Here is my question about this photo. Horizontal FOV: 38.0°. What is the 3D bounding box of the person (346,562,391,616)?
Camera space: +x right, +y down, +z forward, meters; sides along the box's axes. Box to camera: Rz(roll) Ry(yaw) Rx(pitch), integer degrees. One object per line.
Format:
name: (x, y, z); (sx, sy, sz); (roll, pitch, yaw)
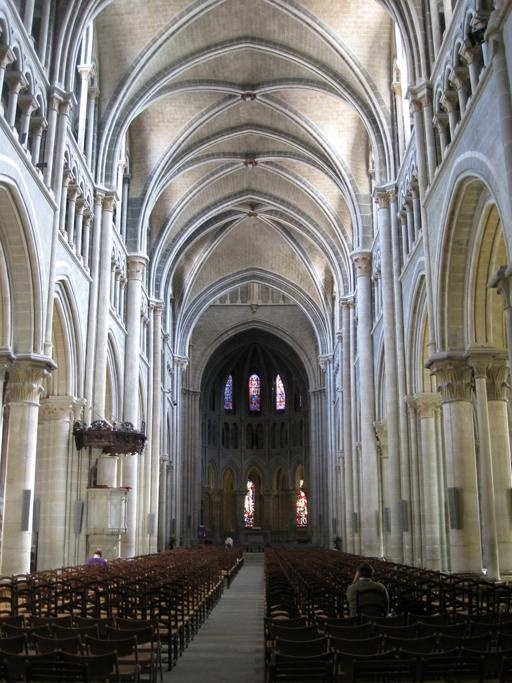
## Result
person: (1.201, 2.888, 8.169); (0.427, 0.855, 0.460); (1, -10, -3)
